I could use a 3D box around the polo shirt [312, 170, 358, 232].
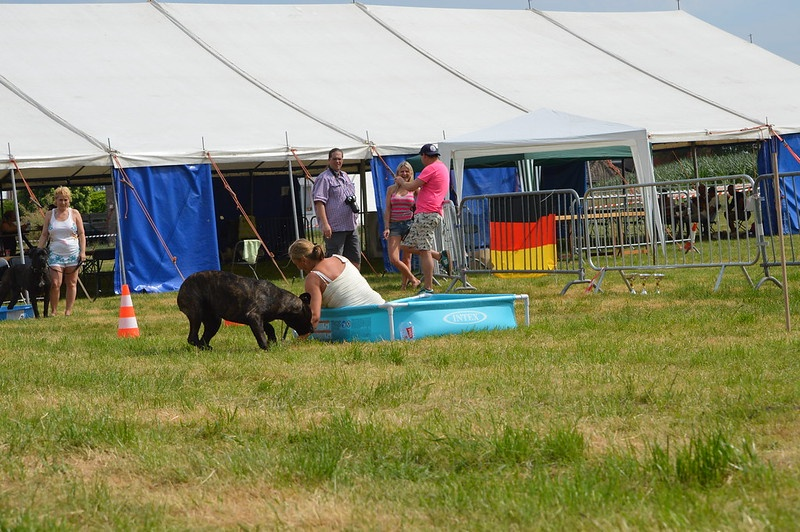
[{"bbox_3d":[-0.910,-0.918,17.199,0.638,0.699,0.547,-5,2,-13],"label":"polo shirt"}]

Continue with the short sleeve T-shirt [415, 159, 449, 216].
[{"bbox_3d":[0.448,-1.068,17.082,0.482,0.829,0.686,5,-2,14],"label":"short sleeve T-shirt"}]

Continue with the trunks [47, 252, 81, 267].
[{"bbox_3d":[-4.722,-0.073,17.357,0.328,0.222,0.122,1,-5,-13],"label":"trunks"}]

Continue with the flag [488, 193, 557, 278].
[{"bbox_3d":[1.756,-0.453,17.822,1.117,1.281,0.087,-1,-2,-3],"label":"flag"}]

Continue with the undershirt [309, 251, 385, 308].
[{"bbox_3d":[-0.606,0.251,14.107,0.832,0.485,0.282,33,-17,-12],"label":"undershirt"}]

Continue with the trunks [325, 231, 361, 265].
[{"bbox_3d":[-0.779,-0.251,16.661,0.235,0.759,0.383,-7,-1,42],"label":"trunks"}]

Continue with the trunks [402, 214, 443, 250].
[{"bbox_3d":[0.296,-0.488,17.288,0.377,0.440,0.257,15,0,18],"label":"trunks"}]

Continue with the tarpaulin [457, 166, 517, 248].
[{"bbox_3d":[1.333,-0.903,19.521,1.449,1.639,0.057,0,4,-12],"label":"tarpaulin"}]

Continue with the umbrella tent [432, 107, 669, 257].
[{"bbox_3d":[2.543,-1.539,18.299,2.555,1.791,2.604,1,-3,-34],"label":"umbrella tent"}]
